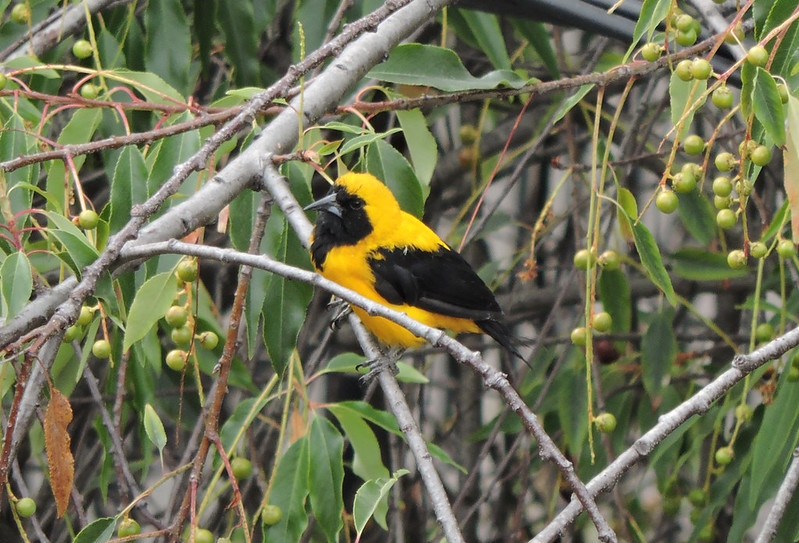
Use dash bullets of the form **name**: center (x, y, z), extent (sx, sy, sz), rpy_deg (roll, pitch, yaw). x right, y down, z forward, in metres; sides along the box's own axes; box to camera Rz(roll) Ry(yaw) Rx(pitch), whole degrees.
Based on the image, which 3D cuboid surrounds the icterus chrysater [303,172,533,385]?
- **icterus chrysater**: center (0.118, 0.012, 6.754), extent (1.074, 1.069, 0.573), rpy_deg (-1, 7, -12)

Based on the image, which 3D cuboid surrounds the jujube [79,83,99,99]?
- **jujube**: center (-1.487, -0.863, 5.897), extent (0.073, 0.077, 0.147), rpy_deg (-2, 4, -19)

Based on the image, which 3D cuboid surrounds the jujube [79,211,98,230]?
- **jujube**: center (-1.383, -0.227, 5.454), extent (0.054, 0.059, 0.057), rpy_deg (48, 7, 34)
